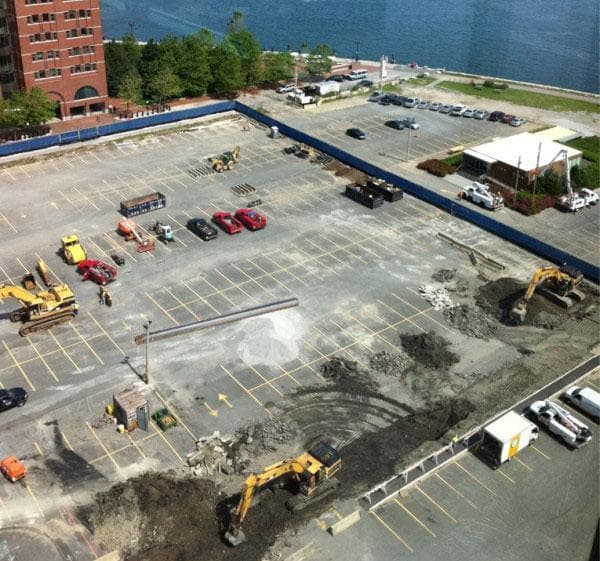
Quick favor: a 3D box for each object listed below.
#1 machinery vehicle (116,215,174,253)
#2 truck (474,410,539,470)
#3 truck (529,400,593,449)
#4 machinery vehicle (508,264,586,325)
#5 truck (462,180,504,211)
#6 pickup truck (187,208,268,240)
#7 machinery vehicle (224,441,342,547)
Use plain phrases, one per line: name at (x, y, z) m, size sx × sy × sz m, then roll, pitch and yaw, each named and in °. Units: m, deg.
machinery vehicle at (-16.974, -4.702, 67.422) m, size 7.403 × 3.803 × 5.245 m, roll -9°, pitch 27°, yaw -16°
truck at (14.359, 11.009, 42.049) m, size 5.380 × 2.373 × 2.503 m, roll -22°, pitch 39°, yaw -27°
truck at (19.259, 10.717, 43.845) m, size 1.781 × 1.630 × 4.023 m, roll -20°, pitch 32°, yaw -26°
machinery vehicle at (24.941, 0.383, 58.816) m, size 5.238 × 4.030 × 12.937 m, roll 22°, pitch 36°, yaw 38°
truck at (23.664, -11.081, 76.178) m, size 5.372 × 2.348 × 3.428 m, roll 36°, pitch 56°, yaw 28°
pickup truck at (-8.625, -6.729, 68.906) m, size 7.693 × 1.901 × 4.062 m, roll -14°, pitch 29°, yaw -21°
machinery vehicle at (-1.522, 13.193, 38.855) m, size 9.382 × 3.576 × 3.406 m, roll -26°, pitch 46°, yaw -20°
